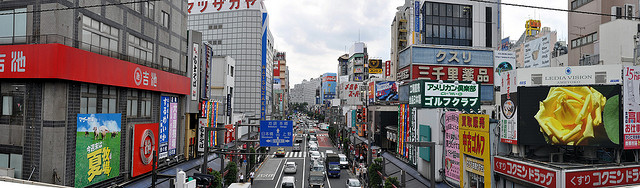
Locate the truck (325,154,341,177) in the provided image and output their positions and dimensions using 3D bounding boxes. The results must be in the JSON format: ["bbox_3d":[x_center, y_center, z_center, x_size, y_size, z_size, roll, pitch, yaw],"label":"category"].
[{"bbox_3d":[3.157,16.094,95.138,2.726,5.081,1.172,0,-7,-1],"label":"truck"}]
